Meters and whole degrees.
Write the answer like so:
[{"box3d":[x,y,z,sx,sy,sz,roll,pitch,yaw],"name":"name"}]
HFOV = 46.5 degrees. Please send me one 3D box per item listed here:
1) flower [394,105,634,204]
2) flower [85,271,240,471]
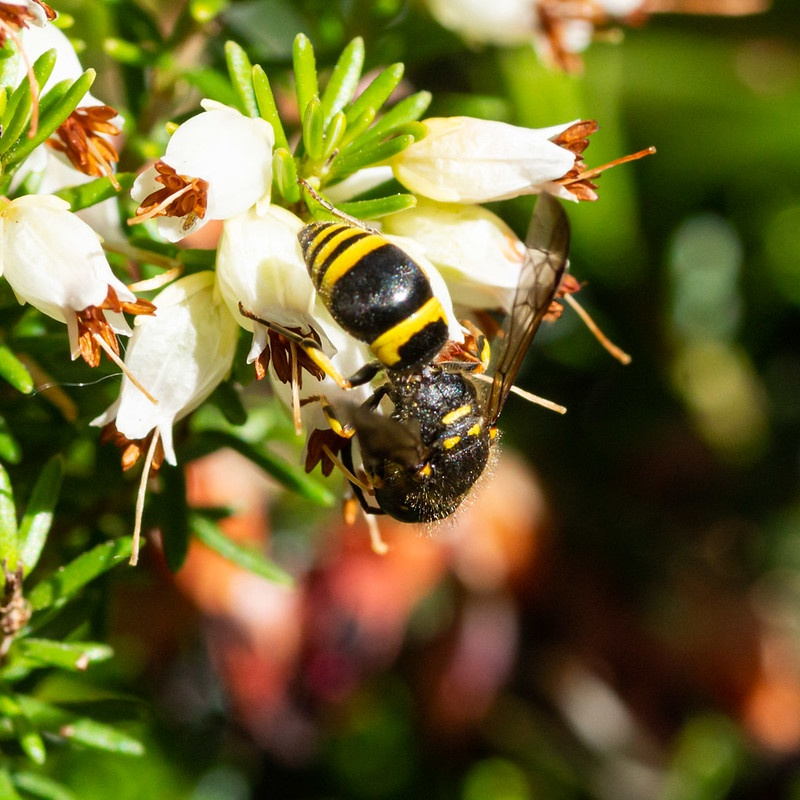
[{"box3d":[0.191,-0.331,1.351,0.416,0.136,0.124,-5,91,-8],"name":"flower"},{"box3d":[-0.304,-0.051,1.319,0.147,0.108,0.304,39,106,10],"name":"flower"}]
